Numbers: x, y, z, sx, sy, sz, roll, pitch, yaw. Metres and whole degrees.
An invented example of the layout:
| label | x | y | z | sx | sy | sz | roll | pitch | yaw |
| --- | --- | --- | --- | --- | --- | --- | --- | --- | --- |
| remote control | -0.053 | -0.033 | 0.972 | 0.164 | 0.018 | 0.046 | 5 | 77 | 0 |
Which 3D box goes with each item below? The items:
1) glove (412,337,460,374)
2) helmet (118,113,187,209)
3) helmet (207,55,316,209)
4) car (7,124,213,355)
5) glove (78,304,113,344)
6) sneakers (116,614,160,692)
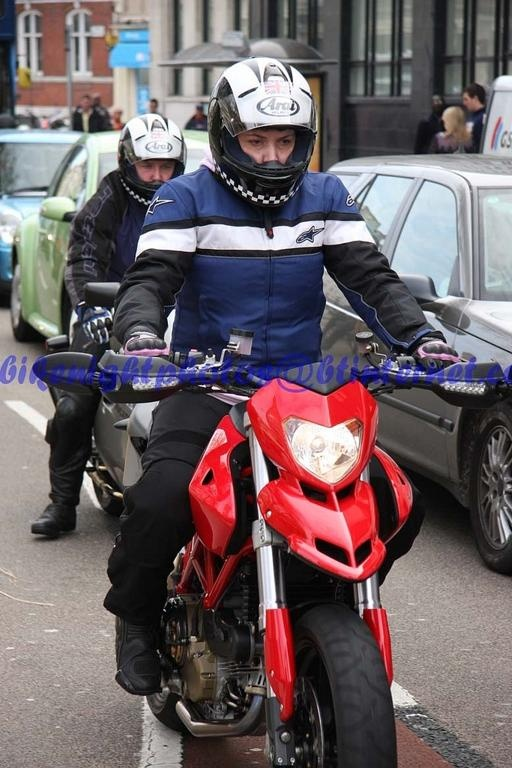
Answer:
| label | x | y | z | sx | sy | sz | roll | pitch | yaw |
| --- | --- | --- | --- | --- | --- | --- | --- | --- | --- |
| glove | 0.403 | -0.069 | 1.607 | 0.068 | 0.031 | 0.096 | -2 | 18 | -10 |
| helmet | -0.604 | -1.257 | 3.963 | 0.377 | 0.492 | 0.485 | -3 | 24 | -20 |
| helmet | 0.014 | -0.646 | 1.811 | 0.272 | 0.376 | 0.267 | 0 | 2 | -4 |
| car | -1.947 | -1.821 | 9.018 | 1.982 | 1.909 | 3.450 | -1 | 8 | -26 |
| glove | -0.847 | -0.300 | 3.724 | 0.153 | 0.103 | 0.261 | -2 | 36 | -34 |
| sneakers | -0.338 | 0.751 | 2.043 | 0.095 | 0.113 | 0.247 | 0 | 17 | -19 |
